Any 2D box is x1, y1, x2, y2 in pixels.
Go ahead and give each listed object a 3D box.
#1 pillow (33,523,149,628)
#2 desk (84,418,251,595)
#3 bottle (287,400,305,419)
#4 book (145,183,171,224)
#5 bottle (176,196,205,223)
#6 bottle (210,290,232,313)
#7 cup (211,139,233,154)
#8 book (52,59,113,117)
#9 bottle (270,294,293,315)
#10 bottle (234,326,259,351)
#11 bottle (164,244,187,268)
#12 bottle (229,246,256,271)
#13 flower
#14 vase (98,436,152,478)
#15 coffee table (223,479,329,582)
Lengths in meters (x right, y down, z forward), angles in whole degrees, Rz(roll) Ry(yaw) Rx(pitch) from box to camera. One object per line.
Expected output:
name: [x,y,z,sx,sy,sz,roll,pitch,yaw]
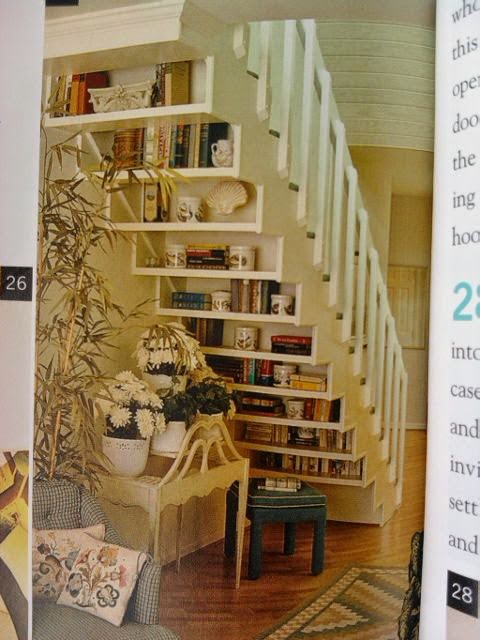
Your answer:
pillow: [-0.316,0.578,1.278,0.247,0.189,0.069,15,-7,44]
desk: [-0.207,0.556,1.724,0.300,0.539,0.408,3,3,40]
bottle: [0.180,0.288,1.824,0.051,0.055,0.054,-1,-4,12]
book: [-0.296,-0.406,1.960,0.075,0.155,0.035,0,1,3]
bottle: [-0.172,-0.374,1.925,0.083,0.093,0.089,-1,5,-1]
bottle: [-0.064,-0.063,1.826,0.059,0.062,0.059,0,1,-2]
cup: [-0.055,-0.537,1.739,0.053,0.043,0.041,-1,6,-3]
book: [-0.485,-0.662,1.657,0.152,0.187,0.041,3,4,17]
bottle: [0.132,-0.047,1.777,0.061,0.058,0.061,-3,-2,40]
bottle: [0.022,0.060,1.834,0.070,0.077,0.067,0,-1,13]
bottle: [-0.217,-0.216,1.943,0.072,0.090,0.077,-1,-1,0]
bottle: [0.005,-0.207,1.889,0.076,0.093,0.080,-2,5,-19]
flower: [-0.232,0.115,1.683,0.301,0.270,0.347,10,16,34]
vase: [-0.313,0.369,1.539,0.099,0.086,0.102,0,-7,2]
coffee table: [0.111,0.612,1.761,0.272,0.333,0.306,0,-10,5]
